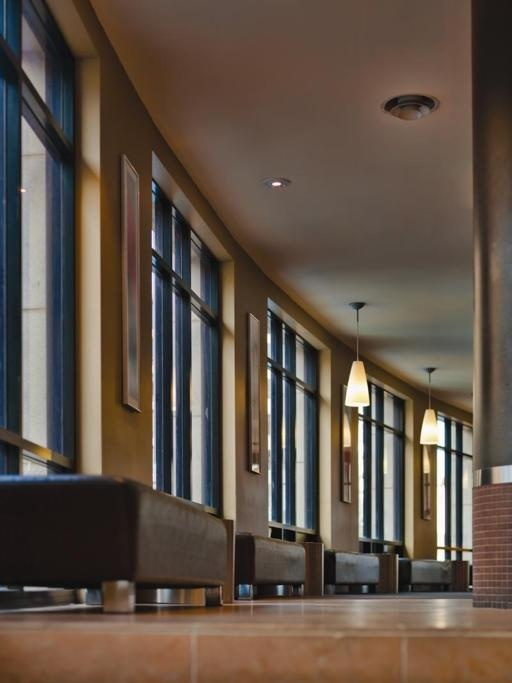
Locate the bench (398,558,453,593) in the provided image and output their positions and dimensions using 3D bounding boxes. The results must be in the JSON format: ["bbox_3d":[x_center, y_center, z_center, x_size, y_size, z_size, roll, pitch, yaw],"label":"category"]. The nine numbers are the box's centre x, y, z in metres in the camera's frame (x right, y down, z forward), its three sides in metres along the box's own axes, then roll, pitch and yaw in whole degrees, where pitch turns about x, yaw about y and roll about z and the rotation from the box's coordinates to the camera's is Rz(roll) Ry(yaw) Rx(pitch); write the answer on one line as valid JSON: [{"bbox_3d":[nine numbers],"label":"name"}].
[{"bbox_3d":[2.014,2.794,12.627,0.593,0.381,0.900,-6,-17,25],"label":"bench"}]
